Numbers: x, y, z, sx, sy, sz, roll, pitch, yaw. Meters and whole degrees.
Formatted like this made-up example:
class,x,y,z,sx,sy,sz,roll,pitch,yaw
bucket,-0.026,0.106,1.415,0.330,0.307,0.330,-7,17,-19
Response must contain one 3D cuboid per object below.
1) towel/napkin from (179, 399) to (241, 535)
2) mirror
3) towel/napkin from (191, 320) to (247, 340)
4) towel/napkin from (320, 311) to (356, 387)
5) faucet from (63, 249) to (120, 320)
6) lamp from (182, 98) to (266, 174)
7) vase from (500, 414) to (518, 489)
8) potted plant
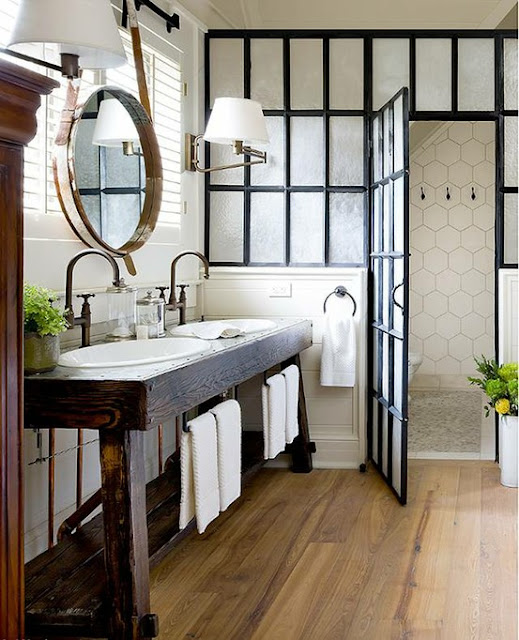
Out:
class,x,y,z,sx,sy,sz,roll,pitch,yaw
towel/napkin,-0.165,0.460,1.699,0.143,0.378,0.370,0,1,9
mirror,-0.527,-0.505,1.888,0.080,0.597,0.632,-6,21,-45
towel/napkin,-0.158,0.038,2.059,0.170,0.053,0.259,0,2,17
towel/napkin,0.411,0.157,2.949,0.189,0.446,0.052,3,-34,6
faucet,-0.553,-0.120,1.812,0.151,0.228,0.382,0,2,5
lamp,-0.171,-0.852,2.567,0.404,0.394,0.353,2,5,22
vase,1.207,0.639,2.681,0.067,0.344,0.188,0,1,21
potted plant,-0.516,0.020,1.331,0.091,0.205,0.143,-1,1,-21
